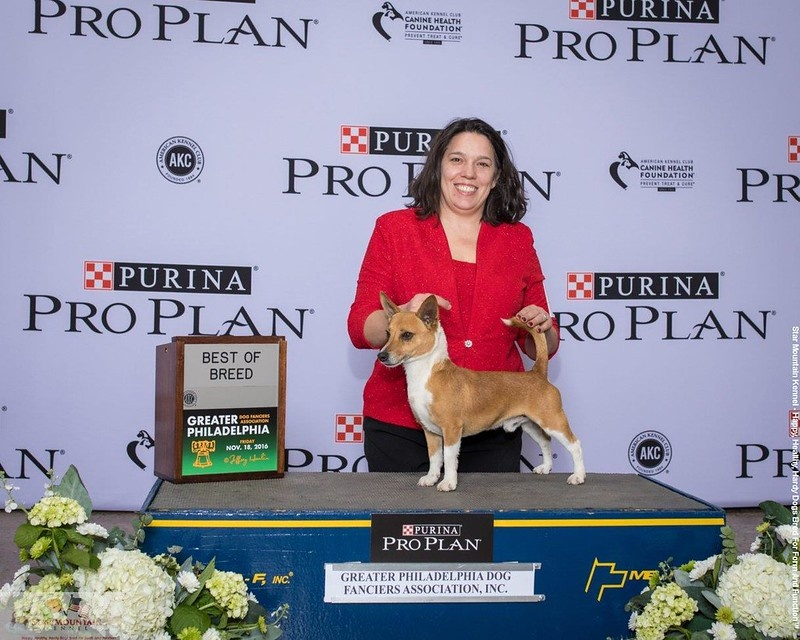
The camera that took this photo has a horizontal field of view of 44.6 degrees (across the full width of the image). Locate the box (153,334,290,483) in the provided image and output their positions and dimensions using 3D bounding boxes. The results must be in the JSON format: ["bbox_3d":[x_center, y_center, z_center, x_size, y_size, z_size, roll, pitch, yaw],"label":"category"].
[{"bbox_3d":[-0.731,0.309,4.104,0.484,0.668,0.352,-2,17,-24],"label":"box"}]

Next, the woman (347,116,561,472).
[{"bbox_3d":[0.255,0.289,4.375,0.864,2.468,0.938,-1,-4,0],"label":"woman"}]

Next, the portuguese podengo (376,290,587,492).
[{"bbox_3d":[0.355,0.309,4.212,0.821,0.911,0.326,-1,10,-9],"label":"portuguese podengo"}]
